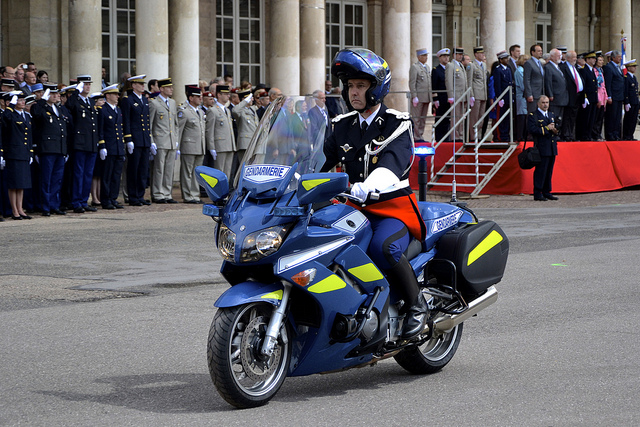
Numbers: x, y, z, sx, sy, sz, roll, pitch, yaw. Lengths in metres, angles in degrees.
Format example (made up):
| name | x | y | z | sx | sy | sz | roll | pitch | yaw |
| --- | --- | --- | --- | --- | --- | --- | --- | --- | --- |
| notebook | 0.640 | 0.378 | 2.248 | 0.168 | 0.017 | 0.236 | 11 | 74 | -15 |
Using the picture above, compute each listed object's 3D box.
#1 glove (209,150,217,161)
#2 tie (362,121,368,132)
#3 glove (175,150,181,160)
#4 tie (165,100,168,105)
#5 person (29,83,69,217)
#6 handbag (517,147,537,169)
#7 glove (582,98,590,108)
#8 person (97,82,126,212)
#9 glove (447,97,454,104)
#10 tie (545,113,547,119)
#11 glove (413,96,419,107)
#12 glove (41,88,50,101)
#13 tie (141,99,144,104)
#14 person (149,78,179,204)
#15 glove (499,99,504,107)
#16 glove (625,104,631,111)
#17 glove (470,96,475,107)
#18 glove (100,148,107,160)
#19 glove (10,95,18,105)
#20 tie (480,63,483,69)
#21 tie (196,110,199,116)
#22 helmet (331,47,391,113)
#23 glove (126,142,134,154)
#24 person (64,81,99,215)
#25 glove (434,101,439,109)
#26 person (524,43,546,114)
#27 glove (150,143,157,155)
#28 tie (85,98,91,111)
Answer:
| name | x | y | z | sx | sy | sz | roll | pitch | yaw |
| --- | --- | --- | --- | --- | --- | --- | --- | --- | --- |
| glove | -2.217 | -1.221 | 21.178 | 0.052 | 0.172 | 0.109 | -33 | 11 | -26 |
| tie | 0.401 | -0.813 | 9.433 | 0.051 | 0.072 | 0.019 | 6 | -1 | 9 |
| glove | -2.876 | -1.194 | 20.606 | 0.145 | 0.130 | 0.136 | 5 | -4 | 0 |
| tie | -3.066 | -2.227 | 20.331 | 0.031 | 0.085 | 0.082 | 2 | 10 | 4 |
| person | -4.882 | -1.138 | 18.468 | 0.608 | 2.350 | 0.706 | -4 | 11 | -28 |
| handbag | 4.344 | -1.196 | 21.689 | 0.341 | 0.458 | 0.439 | -2 | 3 | -12 |
| glove | 6.362 | -2.658 | 24.551 | 0.137 | 0.196 | 0.050 | 5 | -6 | 36 |
| person | -3.978 | -1.246 | 19.449 | 0.552 | 2.321 | 0.432 | -4 | 11 | -28 |
| glove | 3.071 | -2.692 | 24.130 | 0.206 | 0.152 | 0.270 | -1 | -2 | 5 |
| tie | 4.780 | -2.097 | 21.703 | 0.048 | 0.089 | 0.071 | 2 | 10 | 4 |
| glove | 2.302 | -2.730 | 24.754 | 0.136 | 0.187 | 0.066 | 0 | -1 | -35 |
| glove | -4.986 | -2.181 | 18.525 | 0.105 | 0.194 | 0.235 | -4 | 11 | -29 |
| tie | -3.476 | -2.198 | 19.908 | 0.028 | 0.101 | 0.022 | 3 | -13 | -16 |
| person | -3.138 | -1.433 | 20.465 | 0.714 | 2.513 | 0.586 | -5 | 11 | -32 |
| glove | 4.109 | -2.526 | 23.371 | 0.041 | 0.130 | 0.113 | 15 | 42 | 35 |
| glove | 8.007 | -2.786 | 26.705 | 0.129 | 0.180 | 0.316 | 4 | 10 | 16 |
| glove | 3.580 | -2.672 | 24.272 | 0.069 | 0.189 | 0.140 | 10 | 11 | 43 |
| glove | -4.075 | -1.127 | 19.185 | 0.121 | 0.159 | 0.142 | -2 | -27 | 0 |
| glove | -5.390 | -2.020 | 17.973 | 0.133 | 0.154 | 0.056 | 3 | 10 | 10 |
| tie | 3.831 | -3.539 | 24.413 | 0.097 | 0.132 | 0.035 | 0 | -14 | 0 |
| tie | -2.519 | -2.064 | 20.946 | 0.036 | 0.125 | 0.025 | -2 | 2 | -37 |
| helmet | 0.402 | -1.250 | 9.484 | 0.465 | 0.592 | 0.599 | 7 | 12 | 34 |
| glove | -3.643 | -1.279 | 19.656 | 0.104 | 0.173 | 0.129 | -5 | 9 | 5 |
| person | -4.431 | -1.244 | 19.032 | 0.606 | 2.408 | 0.906 | -1 | 10 | -13 |
| glove | 2.794 | -2.643 | 24.569 | 0.119 | 0.097 | 0.098 | -3 | 0 | 44 |
| person | 4.864 | -3.098 | 23.326 | 0.509 | 1.461 | 1.149 | 4 | 10 | 19 |
| glove | -3.303 | -1.289 | 20.198 | 0.109 | 0.235 | 0.285 | 1 | 10 | -2 |
| tie | -4.311 | -2.036 | 18.990 | 0.047 | 0.042 | 0.343 | -6 | 45 | -20 |
